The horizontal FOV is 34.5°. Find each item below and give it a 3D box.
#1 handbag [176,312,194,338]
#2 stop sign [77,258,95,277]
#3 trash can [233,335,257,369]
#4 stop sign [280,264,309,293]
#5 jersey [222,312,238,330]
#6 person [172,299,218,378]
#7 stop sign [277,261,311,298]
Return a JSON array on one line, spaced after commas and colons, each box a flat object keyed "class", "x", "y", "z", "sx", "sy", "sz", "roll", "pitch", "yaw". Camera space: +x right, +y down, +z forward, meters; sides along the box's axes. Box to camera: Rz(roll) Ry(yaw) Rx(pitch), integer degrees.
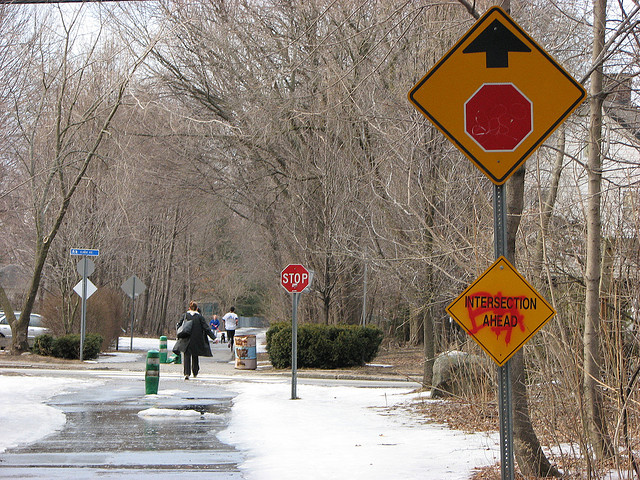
[{"class": "handbag", "x": -3.295, "y": 2.162, "z": 24.964, "sx": 0.389, "sy": 0.637, "sz": 0.416, "roll": 3, "pitch": -11, "yaw": -7}, {"class": "stop sign", "x": -6.896, "y": 0.848, "z": 30.104, "sx": 0.427, "sy": 0.561, "sz": 0.675, "roll": 3, "pitch": -12, "yaw": -5}, {"class": "trash can", "x": -2.220, "y": 3.443, "z": 30.289, "sx": 0.642, "sy": 1.093, "sz": 0.637, "roll": 3, "pitch": -11, "yaw": -5}, {"class": "stop sign", "x": -0.583, "y": 0.952, "z": 22.635, "sx": 0.629, "sy": 0.916, "sz": 0.112, "roll": -1, "pitch": 31, "yaw": -6}, {"class": "jersey", "x": -3.588, "y": 3.301, "z": 39.562, "sx": 0.707, "sy": 0.867, "sz": 0.497, "roll": -2, "pitch": -12, "yaw": 6}, {"class": "person", "x": -3.121, "y": 2.468, "z": 25.324, "sx": 0.886, "sy": 2.644, "sz": 0.884, "roll": 0, "pitch": -3, "yaw": -7}, {"class": "stop sign", "x": -0.588, "y": 1.054, "z": 22.686, "sx": 0.634, "sy": 1.085, "sz": 0.190, "roll": 1, "pitch": 24, "yaw": -2}]
